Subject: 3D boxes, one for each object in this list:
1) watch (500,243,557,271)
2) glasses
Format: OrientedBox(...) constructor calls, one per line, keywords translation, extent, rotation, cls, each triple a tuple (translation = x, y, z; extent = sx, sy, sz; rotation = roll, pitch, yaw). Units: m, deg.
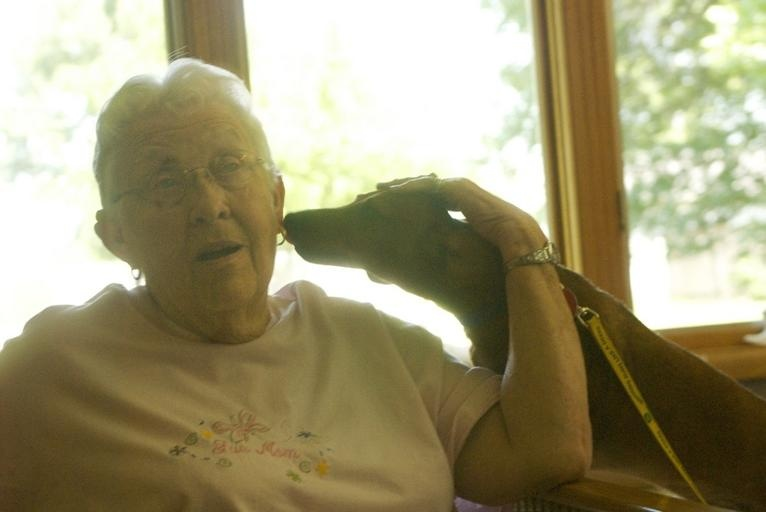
OrientedBox(translation=(0.384, 0.003, 2.236), extent=(0.092, 0.043, 0.080), rotation=(-27, -3, 10), cls="watch")
OrientedBox(translation=(-0.472, -0.195, 2.205), extent=(0.173, 0.053, 0.226), rotation=(-17, -5, -26), cls="glasses")
